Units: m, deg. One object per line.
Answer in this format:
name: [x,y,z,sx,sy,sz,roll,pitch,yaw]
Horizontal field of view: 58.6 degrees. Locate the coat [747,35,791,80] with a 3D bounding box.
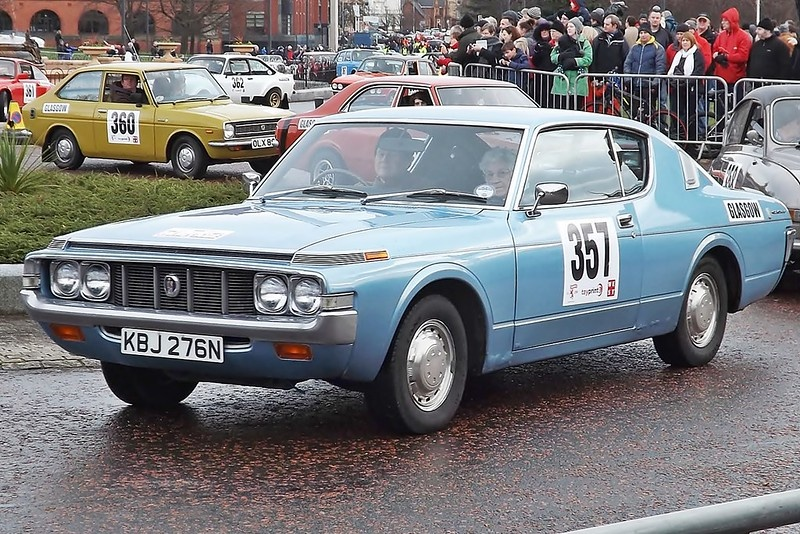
coat: [8.010,-4.662,15.794,0.833,0.987,0.537,4,8,26]

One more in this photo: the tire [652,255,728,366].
tire: [2.476,0.372,6.271,0.293,0.865,0.845,12,0,44]

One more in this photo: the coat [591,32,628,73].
coat: [5.009,-5.091,17.186,0.772,1.031,0.413,-10,-5,-39]

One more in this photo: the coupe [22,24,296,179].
coupe: [-5.763,-3.718,16.954,5.568,2.326,2.985,3,8,23]

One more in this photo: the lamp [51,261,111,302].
lamp: [-2.084,0.090,4.669,0.281,0.176,0.333,3,3,4]

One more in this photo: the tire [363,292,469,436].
tire: [0.075,0.611,4.567,0.268,0.872,0.777,15,-1,44]

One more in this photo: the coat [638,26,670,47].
coat: [5.813,-5.425,16.730,0.724,0.705,0.396,0,7,-5]

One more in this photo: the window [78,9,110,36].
window: [-42.899,-34.813,100.546,3.471,2.774,0.267,-3,12,-19]

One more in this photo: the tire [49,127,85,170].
tire: [-7.796,-2.858,16.886,0.884,1.031,0.356,-6,-5,21]
